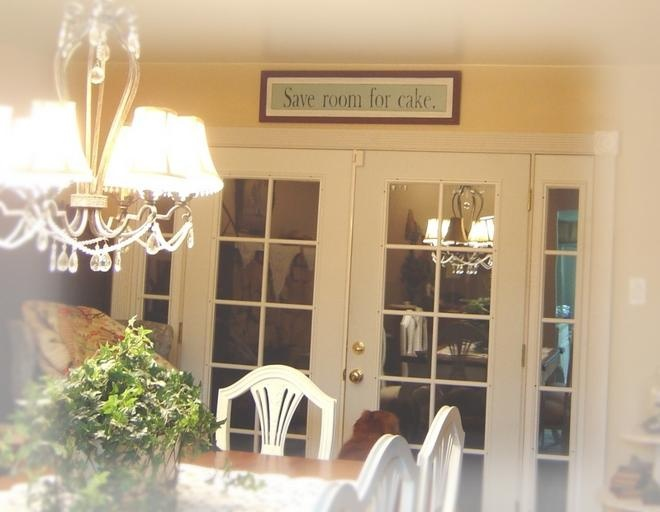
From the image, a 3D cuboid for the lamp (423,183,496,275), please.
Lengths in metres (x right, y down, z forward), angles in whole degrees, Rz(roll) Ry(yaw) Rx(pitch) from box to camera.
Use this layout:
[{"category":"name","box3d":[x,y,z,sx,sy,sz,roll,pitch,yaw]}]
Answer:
[{"category":"lamp","box3d":[0.720,-0.167,3.696,0.436,0.477,0.440,-1,3,-19]}]

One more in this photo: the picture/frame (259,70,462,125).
[{"category":"picture/frame","box3d":[0.161,-0.899,3.670,1.127,0.305,0.043,4,-4,7]}]

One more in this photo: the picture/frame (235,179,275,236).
[{"category":"picture/frame","box3d":[-0.461,-0.277,3.787,0.188,0.340,0.041,4,-4,2]}]
